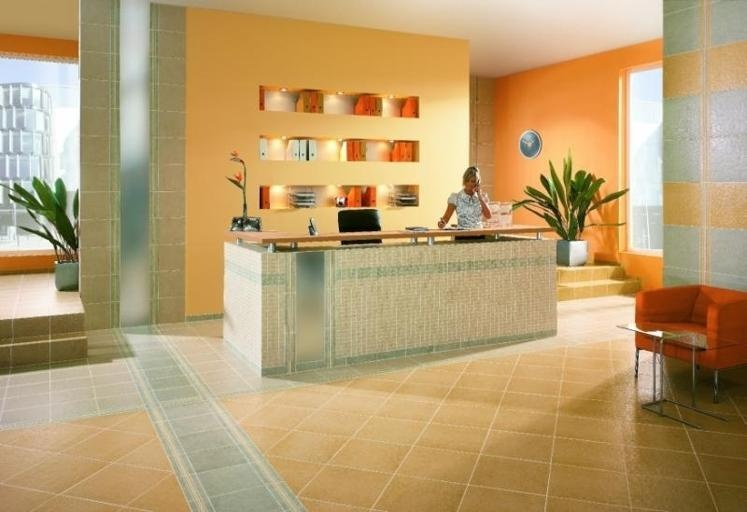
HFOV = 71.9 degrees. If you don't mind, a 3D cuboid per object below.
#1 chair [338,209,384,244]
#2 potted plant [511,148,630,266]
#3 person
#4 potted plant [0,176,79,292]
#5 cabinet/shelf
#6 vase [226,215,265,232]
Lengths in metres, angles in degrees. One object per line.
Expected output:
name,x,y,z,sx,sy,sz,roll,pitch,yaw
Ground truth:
chair,-0.231,-0.378,6.683,0.452,0.611,0.530,-1,2,-12
potted plant,3.904,-0.863,9.892,2.163,1.998,2.364,0,1,-18
person,1.120,-0.706,6.244,0.602,0.729,0.510,-1,13,-1
potted plant,-4.873,-0.446,7.539,0.978,1.507,2.746,-9,16,-31
cabinet/shelf,-0.493,-1.646,7.896,2.561,1.816,0.803,-4,14,-13
vase,-1.434,-0.372,5.749,0.337,0.153,0.176,1,13,4
